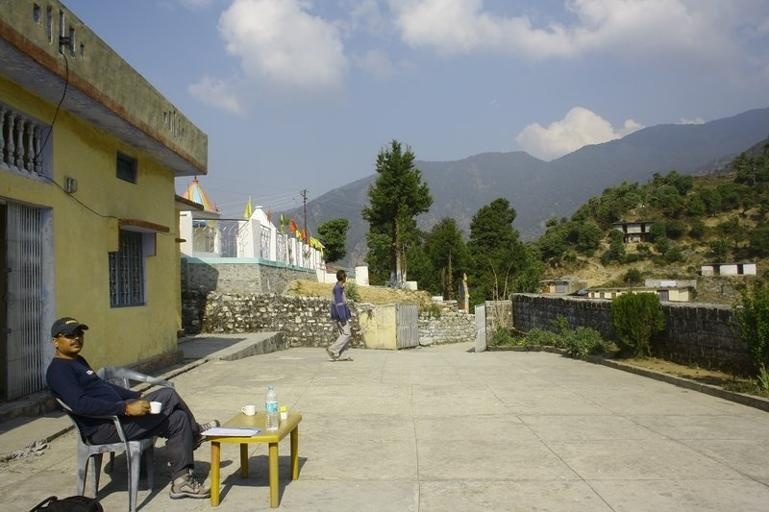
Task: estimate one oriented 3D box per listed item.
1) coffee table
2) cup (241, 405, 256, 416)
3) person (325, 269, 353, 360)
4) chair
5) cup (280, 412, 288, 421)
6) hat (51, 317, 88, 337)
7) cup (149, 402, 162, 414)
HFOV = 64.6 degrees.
[{"bbox_3d":[-1.616,2.764,7.671,0.813,0.728,1.475,-1,-1,5],"label":"coffee table"},{"bbox_3d":[-1.828,2.046,8.166,0.204,0.146,0.142,0,-4,1],"label":"cup"},{"bbox_3d":[-1.226,1.513,16.430,0.590,2.520,1.453,-1,-8,-5],"label":"person"},{"bbox_3d":[-3.446,2.453,8.268,1.403,2.004,1.792,0,-3,12],"label":"chair"},{"bbox_3d":[-1.296,2.057,7.859,0.078,0.080,0.080,1,1,0],"label":"cup"},{"bbox_3d":[-4.044,0.911,7.654,0.382,0.198,0.291,-13,-8,24],"label":"hat"},{"bbox_3d":[-2.806,1.843,7.445,0.141,0.110,0.143,2,3,0],"label":"cup"}]
